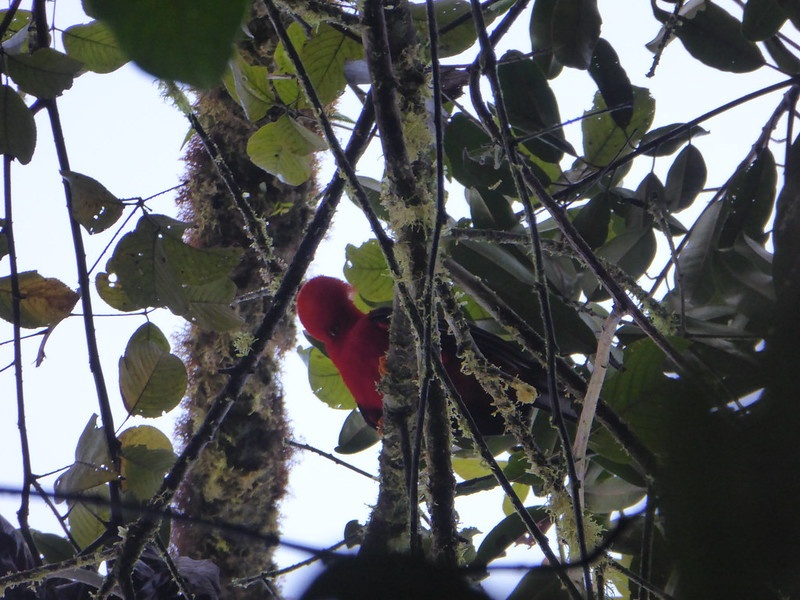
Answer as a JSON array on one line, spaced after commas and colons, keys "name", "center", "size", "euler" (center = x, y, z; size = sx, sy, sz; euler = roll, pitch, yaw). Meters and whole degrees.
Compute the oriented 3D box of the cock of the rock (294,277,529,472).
[{"name": "cock of the rock", "center": [0.015, 0.104, 2.329], "size": [0.412, 0.282, 0.150], "euler": [6, -28, -32]}]
